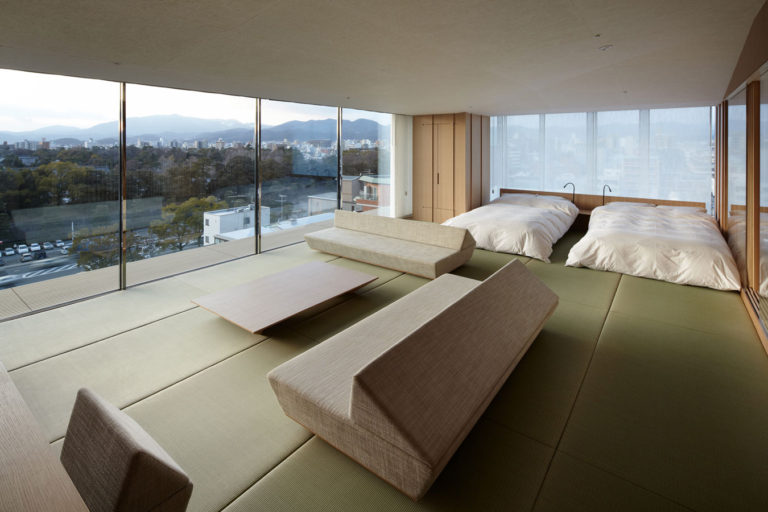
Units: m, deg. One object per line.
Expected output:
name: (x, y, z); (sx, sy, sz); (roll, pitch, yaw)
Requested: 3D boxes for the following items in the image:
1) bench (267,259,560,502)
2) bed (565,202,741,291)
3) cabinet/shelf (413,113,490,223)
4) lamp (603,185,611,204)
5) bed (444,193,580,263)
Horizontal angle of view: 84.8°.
bench: (0.284, 0.828, 3.397); (1.236, 1.132, 1.961); (7, 16, 41)
bed: (4.115, -0.307, 6.442); (1.874, 0.779, 3.087); (5, 14, 34)
cabinet/shelf: (1.515, -2.008, 9.476); (1.307, 2.358, 1.467); (-19, 23, -41)
lamp: (4.375, -1.209, 8.295); (0.160, 0.375, 0.155); (3, 14, 27)
bed: (2.397, -0.541, 7.179); (1.410, 0.479, 2.077); (6, 14, 31)
